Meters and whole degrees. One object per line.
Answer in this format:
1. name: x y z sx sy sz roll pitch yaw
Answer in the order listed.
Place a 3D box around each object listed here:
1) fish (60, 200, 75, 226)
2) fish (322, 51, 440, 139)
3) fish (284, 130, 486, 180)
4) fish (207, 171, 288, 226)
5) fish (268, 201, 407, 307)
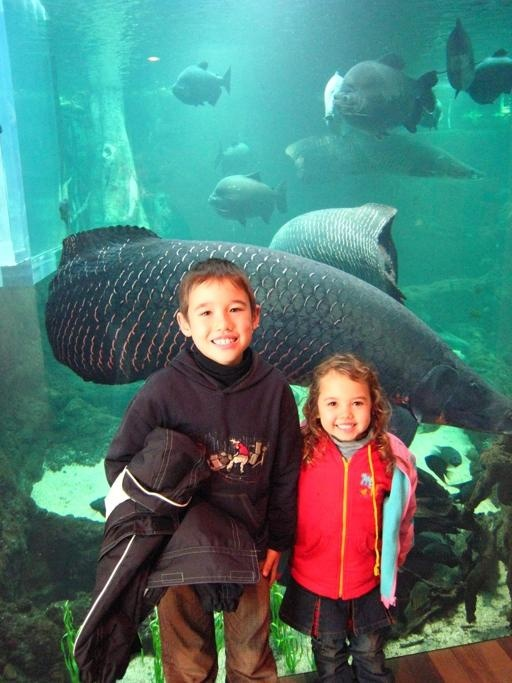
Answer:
1. fish: -0.699 -0.475 2.033 0.046 0.081 0.020 1 1 -28
2. fish: 0.489 -0.955 2.148 0.621 0.338 0.187 -6 18 1
3. fish: 0.480 -0.737 2.164 0.838 0.211 0.175 1 7 11
4. fish: -0.034 -0.549 2.124 0.285 0.171 0.167 -4 6 -7
5. fish: 0.317 -0.378 2.233 0.502 0.342 0.338 22 -5 15
